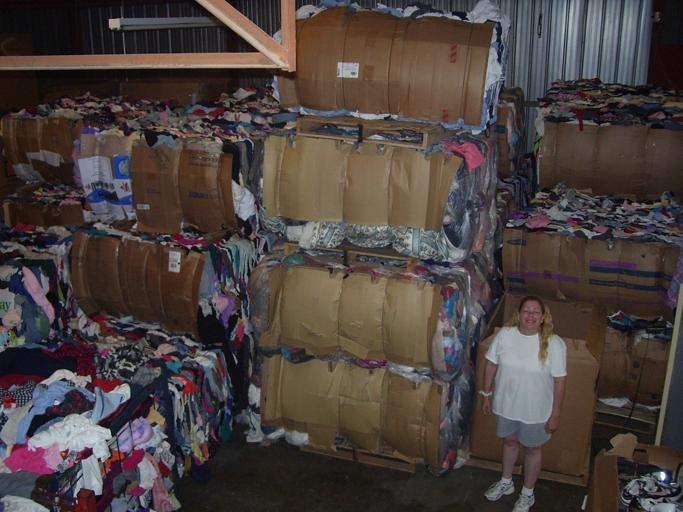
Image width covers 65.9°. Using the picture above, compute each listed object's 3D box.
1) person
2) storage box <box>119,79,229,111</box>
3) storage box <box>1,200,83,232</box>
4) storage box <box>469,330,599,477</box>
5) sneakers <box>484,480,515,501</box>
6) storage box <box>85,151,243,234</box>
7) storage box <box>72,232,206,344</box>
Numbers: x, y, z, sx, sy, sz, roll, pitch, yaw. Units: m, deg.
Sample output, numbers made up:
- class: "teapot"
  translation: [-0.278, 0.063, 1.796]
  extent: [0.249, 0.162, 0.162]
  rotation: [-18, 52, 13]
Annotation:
- class: "person"
  translation: [1.226, 1.016, 3.598]
  extent: [0.514, 1.489, 0.332]
  rotation: [5, 14, 18]
- class: "storage box"
  translation: [-2.518, -2.420, 7.663]
  extent: [1.407, 0.414, 1.026]
  rotation: [4, 13, 16]
- class: "storage box"
  translation: [-2.971, -0.418, 5.237]
  extent: [0.633, 0.232, 0.536]
  rotation: [2, 14, 2]
- class: "storage box"
  translation: [1.501, 1.068, 4.288]
  extent: [0.994, 1.040, 1.024]
  rotation: [6, 17, 24]
- class: "sneakers"
  translation: [1.131, 1.680, 3.764]
  extent: [0.239, 0.106, 0.106]
  rotation: [-17, -26, -2]
- class: "storage box"
  translation: [-1.373, -0.527, 4.210]
  extent: [0.573, 0.519, 0.194]
  rotation: [11, 30, 15]
- class: "storage box"
  translation: [-1.586, 0.242, 4.131]
  extent: [0.763, 0.542, 0.299]
  rotation: [8, 9, 13]
